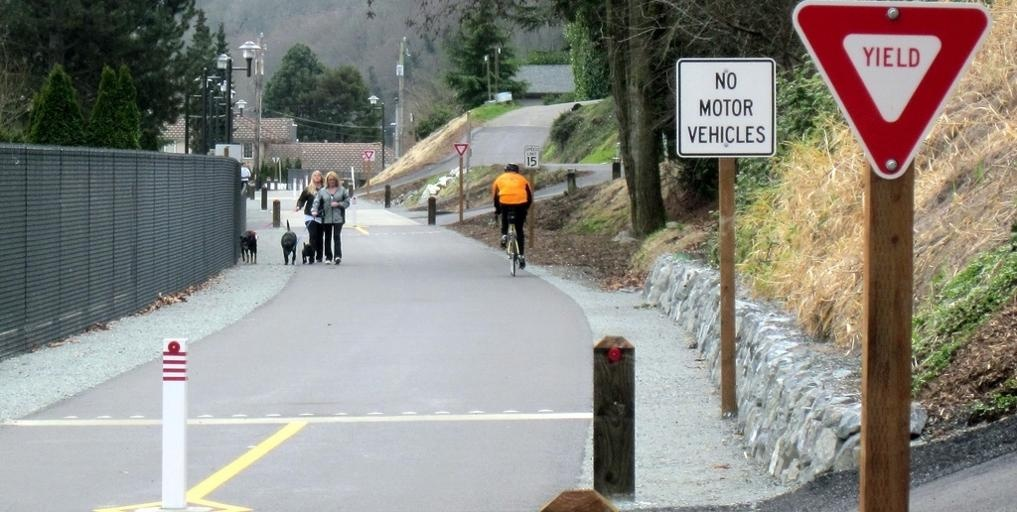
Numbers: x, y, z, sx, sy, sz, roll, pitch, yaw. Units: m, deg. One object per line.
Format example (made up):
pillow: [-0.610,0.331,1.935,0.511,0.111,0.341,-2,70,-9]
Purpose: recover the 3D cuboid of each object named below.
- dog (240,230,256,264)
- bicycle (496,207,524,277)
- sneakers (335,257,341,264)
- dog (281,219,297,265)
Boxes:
dog: [-6.572,-0.262,34.120,0.353,0.828,0.961,-3,11,-14]
bicycle: [0.094,-0.340,31.260,0.398,1.495,0.908,-4,11,-17]
sneakers: [-4.215,0.082,33.383,0.140,0.180,0.291,-2,11,-6]
dog: [-5.508,-0.317,33.994,0.414,0.883,1.852,-6,10,-6]
